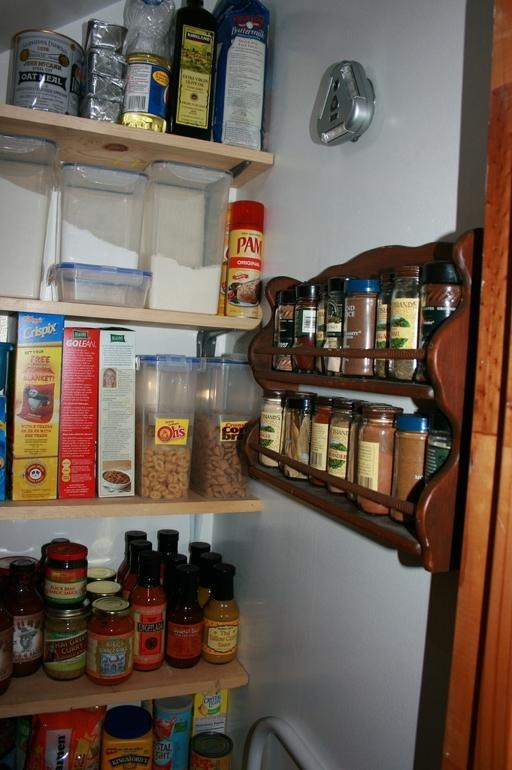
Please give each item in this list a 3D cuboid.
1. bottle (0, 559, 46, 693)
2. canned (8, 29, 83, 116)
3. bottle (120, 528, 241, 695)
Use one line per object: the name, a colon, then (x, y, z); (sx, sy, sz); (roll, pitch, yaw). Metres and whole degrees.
bottle: (-0.440, 0.445, 1.050); (0.067, 0.222, 0.117); (-2, 5, -25)
canned: (-0.399, -0.590, 1.058); (0.122, 0.152, 0.085); (-2, 5, -21)
bottle: (-0.153, 0.470, 1.289); (0.232, 0.341, 0.285); (-2, 3, -38)
